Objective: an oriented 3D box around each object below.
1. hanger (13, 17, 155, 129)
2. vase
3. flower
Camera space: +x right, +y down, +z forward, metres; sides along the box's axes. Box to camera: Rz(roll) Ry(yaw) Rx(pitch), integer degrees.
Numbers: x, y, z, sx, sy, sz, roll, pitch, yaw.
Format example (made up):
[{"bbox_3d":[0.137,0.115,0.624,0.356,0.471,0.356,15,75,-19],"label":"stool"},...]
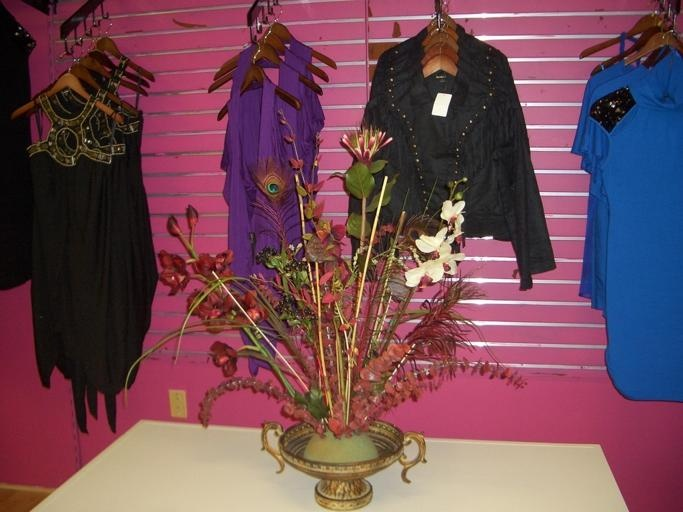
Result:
[{"bbox_3d":[-1.349,-0.945,3.192,0.680,0.471,0.367,-4,7,-25],"label":"hanger"},{"bbox_3d":[0.015,0.751,2.380,0.451,0.224,0.359,0,6,1],"label":"vase"},{"bbox_3d":[-0.028,0.082,2.416,1.164,1.227,0.688,-1,6,-2],"label":"flower"}]
